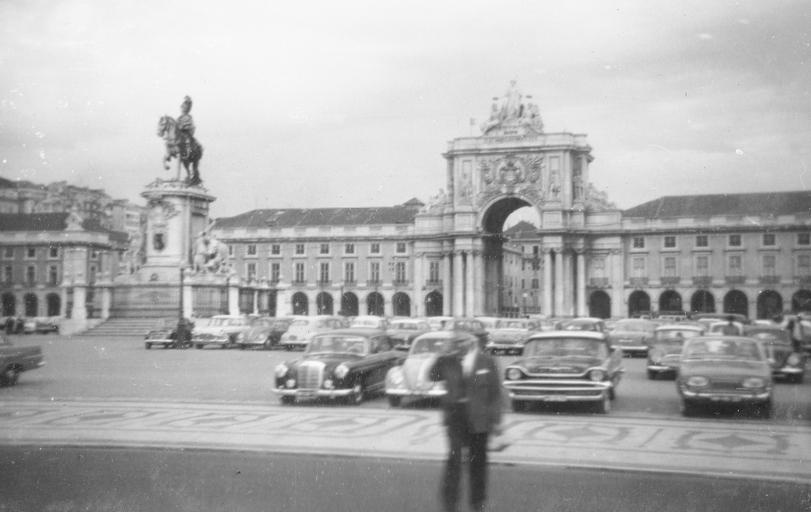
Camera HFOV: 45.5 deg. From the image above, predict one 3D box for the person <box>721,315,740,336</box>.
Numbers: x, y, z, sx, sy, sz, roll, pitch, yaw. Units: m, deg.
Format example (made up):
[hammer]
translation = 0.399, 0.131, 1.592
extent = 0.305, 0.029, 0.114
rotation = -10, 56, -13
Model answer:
[person]
translation = 9.926, 2.121, 29.518
extent = 0.526, 0.392, 1.439
rotation = -2, -5, 18

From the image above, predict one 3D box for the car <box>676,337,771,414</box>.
[car]
translation = 8.065, 2.994, 24.566
extent = 2.221, 1.875, 1.915
rotation = -1, -5, 16
